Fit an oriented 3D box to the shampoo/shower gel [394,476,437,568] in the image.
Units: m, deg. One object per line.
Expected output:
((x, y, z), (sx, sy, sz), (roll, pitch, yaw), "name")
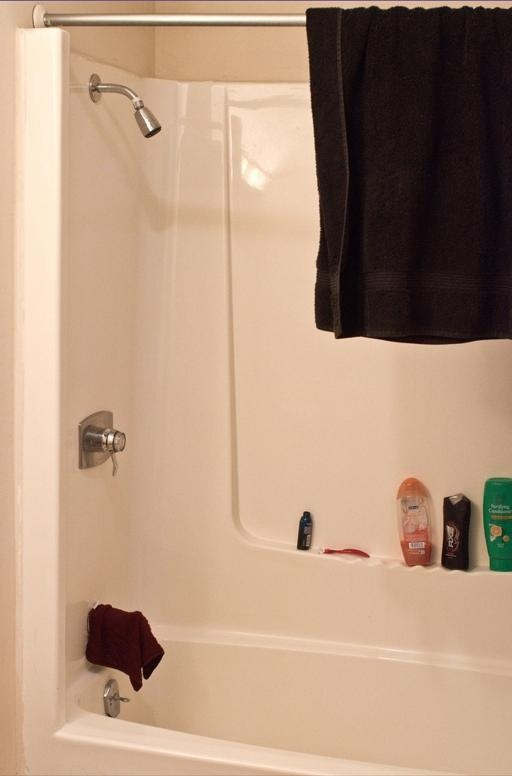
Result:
((0.404, 0.341, 1.918), (0.095, 0.222, 0.067), (2, -8, 12), "shampoo/shower gel")

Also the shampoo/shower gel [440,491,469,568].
((0.504, 0.363, 1.897), (0.076, 0.190, 0.063), (2, -8, 9), "shampoo/shower gel")

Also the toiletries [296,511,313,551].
((0.126, 0.372, 1.955), (0.041, 0.090, 0.020), (1, -9, 19), "toiletries")

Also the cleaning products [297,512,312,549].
((0.127, 0.373, 1.959), (0.037, 0.101, 0.044), (2, -8, 7), "cleaning products")
